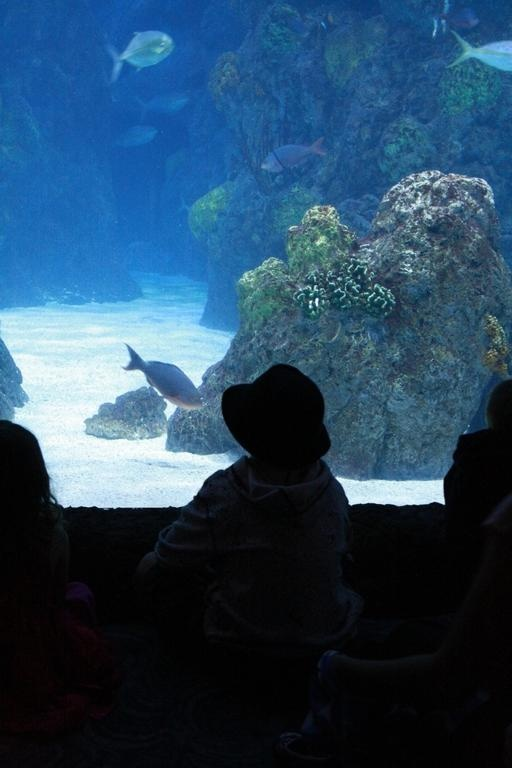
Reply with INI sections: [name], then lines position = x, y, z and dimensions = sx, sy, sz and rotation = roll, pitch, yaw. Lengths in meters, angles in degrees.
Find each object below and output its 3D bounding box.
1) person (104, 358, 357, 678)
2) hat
[person]
position = 0.039, 0.451, 2.617
dimensions = 0.784, 0.954, 0.791
rotation = 3, 0, -31
[hat]
position = 0.062, 0.110, 2.380
dimensions = 0.350, 0.346, 0.254
rotation = 0, 25, -3
